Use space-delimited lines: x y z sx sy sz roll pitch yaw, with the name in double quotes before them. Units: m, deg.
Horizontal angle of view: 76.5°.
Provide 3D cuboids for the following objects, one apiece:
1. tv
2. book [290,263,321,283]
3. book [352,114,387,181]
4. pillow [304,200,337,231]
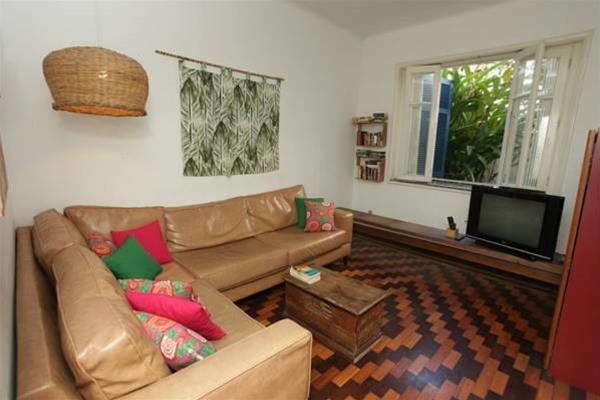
"tv" 2.622 0.280 4.593 0.406 0.631 0.774 -11 20 -29
"book" 0.038 0.734 3.829 0.189 0.046 0.194 -4 11 -41
"book" 1.121 -0.852 6.259 0.594 1.095 0.227 9 18 37
"pillow" 0.245 0.206 4.849 0.373 0.359 0.114 -3 -9 6
